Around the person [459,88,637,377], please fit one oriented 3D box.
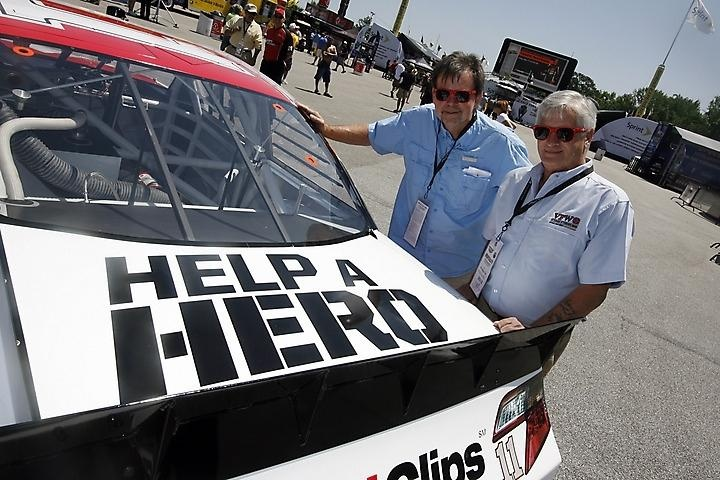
[{"bbox_3d":[0.904,-0.047,2.436,0.895,1.436,0.810,21,44,30],"label":"person"}]
